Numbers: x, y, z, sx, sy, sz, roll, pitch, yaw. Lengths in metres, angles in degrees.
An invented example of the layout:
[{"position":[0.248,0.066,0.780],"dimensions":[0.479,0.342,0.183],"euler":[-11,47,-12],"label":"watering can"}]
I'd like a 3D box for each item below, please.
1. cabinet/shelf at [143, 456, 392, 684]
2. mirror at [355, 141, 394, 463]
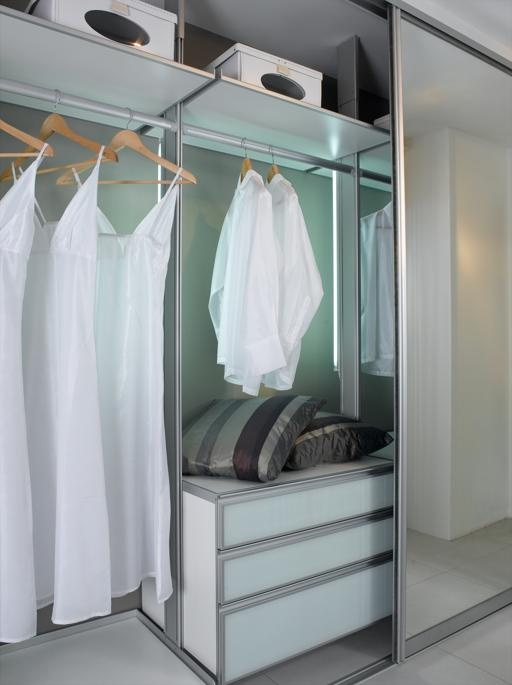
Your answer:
[{"position":[0.058,0.716,2.125],"dimensions":[0.937,0.746,0.536],"euler":[1,-4,-39],"label":"cabinet/shelf"},{"position":[0.509,-0.213,2.383],"dimensions":[0.130,1.250,0.350],"euler":[-2,0,-5],"label":"mirror"}]
